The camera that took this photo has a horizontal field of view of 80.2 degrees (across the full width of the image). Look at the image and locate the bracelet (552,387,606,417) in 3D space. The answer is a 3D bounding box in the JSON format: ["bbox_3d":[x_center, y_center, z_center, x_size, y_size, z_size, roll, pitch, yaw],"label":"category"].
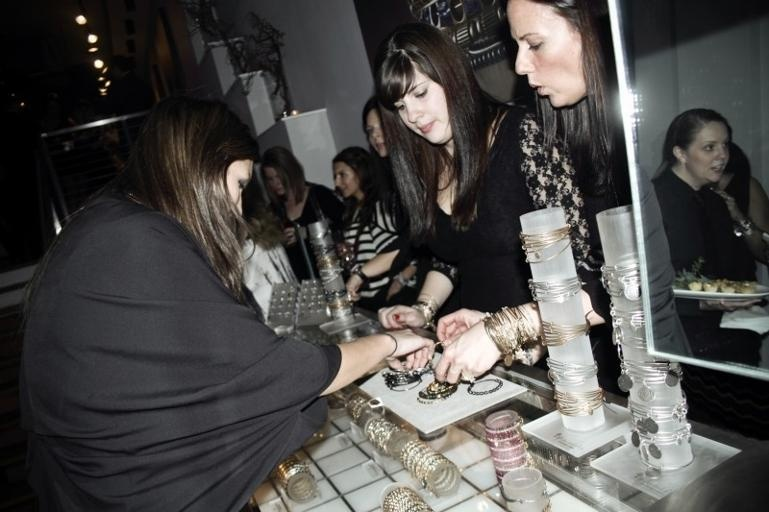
[{"bbox_3d":[0.430,0.297,0.982,0.065,0.035,0.072,-12,12,-29],"label":"bracelet"}]

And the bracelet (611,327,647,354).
[{"bbox_3d":[0.476,0.165,0.883,0.034,0.036,0.040,-1,-4,-21],"label":"bracelet"}]

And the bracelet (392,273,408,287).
[{"bbox_3d":[0.111,0.155,2.959,0.066,0.045,0.083,-8,-28,21],"label":"bracelet"}]

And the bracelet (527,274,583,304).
[{"bbox_3d":[0.364,0.062,0.989,0.074,0.031,0.065,-10,10,-31],"label":"bracelet"}]

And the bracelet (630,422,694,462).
[{"bbox_3d":[0.537,0.364,0.887,0.102,0.067,0.095,-5,-9,-4],"label":"bracelet"}]

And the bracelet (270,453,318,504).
[{"bbox_3d":[-0.204,0.513,1.063,0.076,0.076,0.083,-42,23,-13],"label":"bracelet"}]

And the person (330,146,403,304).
[{"bbox_3d":[-0.096,-0.194,3.030,0.402,0.460,1.180,6,45,-12],"label":"person"}]

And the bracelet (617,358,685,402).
[{"bbox_3d":[0.503,0.234,0.864,0.084,0.064,0.091,-4,6,-2],"label":"bracelet"}]

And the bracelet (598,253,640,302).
[{"bbox_3d":[0.459,0.049,0.895,0.076,0.076,0.078,-25,-2,-12],"label":"bracelet"}]

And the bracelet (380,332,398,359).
[{"bbox_3d":[0.023,0.274,1.384,0.017,0.057,0.060,-14,1,-23],"label":"bracelet"}]

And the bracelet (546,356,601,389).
[{"bbox_3d":[0.409,0.251,0.996,0.076,0.039,0.065,1,1,-3],"label":"bracelet"}]

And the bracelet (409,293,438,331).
[{"bbox_3d":[0.177,0.217,1.907,0.099,0.116,0.120,-5,-13,43],"label":"bracelet"}]

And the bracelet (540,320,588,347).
[{"bbox_3d":[0.384,0.168,0.986,0.066,0.043,0.067,1,9,15],"label":"bracelet"}]

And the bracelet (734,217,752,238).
[{"bbox_3d":[0.497,-0.039,0.632,0.018,0.020,0.023,2,-13,-1],"label":"bracelet"}]

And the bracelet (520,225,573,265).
[{"bbox_3d":[0.340,-0.023,0.958,0.085,0.063,0.085,-13,5,6],"label":"bracelet"}]

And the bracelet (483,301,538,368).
[{"bbox_3d":[0.373,0.220,1.331,0.179,0.102,0.215,-2,22,7],"label":"bracelet"}]

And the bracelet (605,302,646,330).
[{"bbox_3d":[0.472,0.120,0.886,0.045,0.032,0.035,0,8,40],"label":"bracelet"}]
